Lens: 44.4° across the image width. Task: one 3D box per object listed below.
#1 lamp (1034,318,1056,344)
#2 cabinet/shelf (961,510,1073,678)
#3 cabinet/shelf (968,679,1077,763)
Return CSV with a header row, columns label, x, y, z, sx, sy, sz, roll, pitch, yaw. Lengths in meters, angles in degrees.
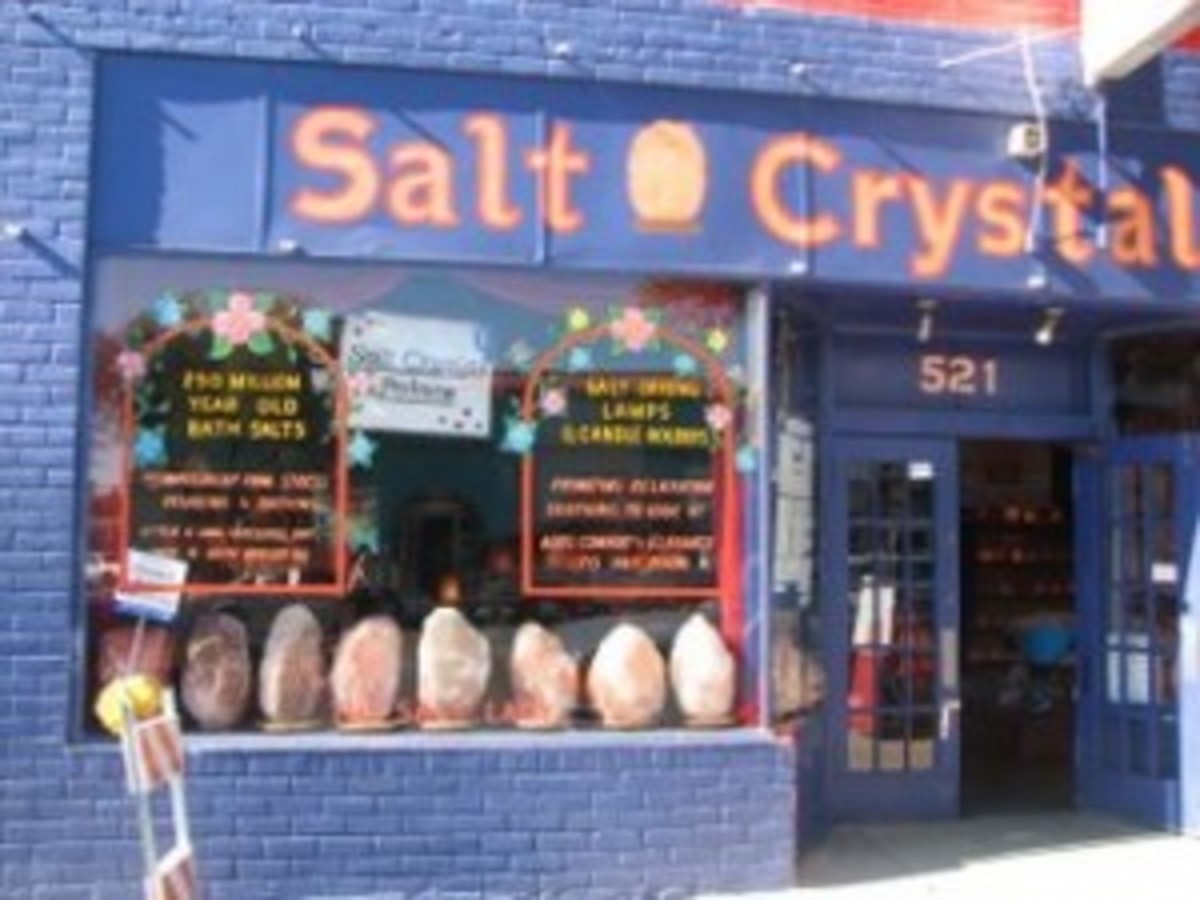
label,x,y,z,sx,sy,sz,roll,pitch,yaw
lamp,3.211,-0.857,10.527,0.191,0.203,0.110,2,1,-9
cabinet/shelf,3.845,1.230,13.463,1.009,1.447,0.450,-1,-5,12
cabinet/shelf,3.443,1.972,11.885,0.486,0.463,0.909,-1,0,-18
